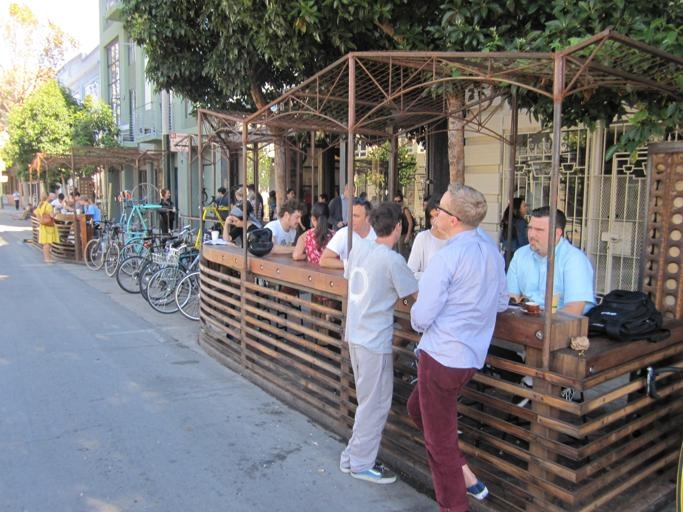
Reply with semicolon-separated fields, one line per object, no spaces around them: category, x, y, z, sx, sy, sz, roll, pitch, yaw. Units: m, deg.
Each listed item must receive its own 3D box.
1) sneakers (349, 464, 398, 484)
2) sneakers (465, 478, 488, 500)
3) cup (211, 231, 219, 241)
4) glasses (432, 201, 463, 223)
sneakers;0.298;1.941;5.276;0.361;0.161;0.173;0;9;-6
sneakers;1.078;1.865;4.749;0.108;0.087;0.207;-11;12;-18
cup;-2.093;-0.344;9.669;0.132;0.190;0.141;0;-7;0
glasses;0.789;-0.342;4.624;0.229;0.070;0.224;34;16;14
